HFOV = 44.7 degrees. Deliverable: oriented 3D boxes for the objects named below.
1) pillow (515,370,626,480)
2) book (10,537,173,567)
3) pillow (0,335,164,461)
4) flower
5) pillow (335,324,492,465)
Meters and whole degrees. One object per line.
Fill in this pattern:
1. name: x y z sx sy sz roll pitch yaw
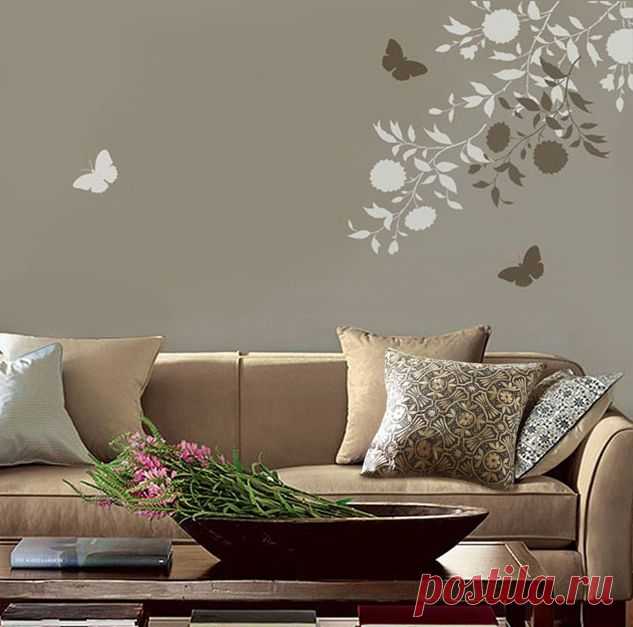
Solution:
1. pillow: 0.800 0.355 2.295 0.103 0.308 0.345 38 -36 -20
2. book: -0.445 0.470 1.509 0.170 0.018 0.109 1 -4 -1
3. pillow: -0.739 0.262 2.346 0.491 0.284 0.148 1 -38 -4
4. flower: -0.190 0.348 1.525 0.615 0.125 0.231 5 10 1
5. pillow: 0.301 0.266 2.395 0.501 0.412 0.169 -4 -24 28
